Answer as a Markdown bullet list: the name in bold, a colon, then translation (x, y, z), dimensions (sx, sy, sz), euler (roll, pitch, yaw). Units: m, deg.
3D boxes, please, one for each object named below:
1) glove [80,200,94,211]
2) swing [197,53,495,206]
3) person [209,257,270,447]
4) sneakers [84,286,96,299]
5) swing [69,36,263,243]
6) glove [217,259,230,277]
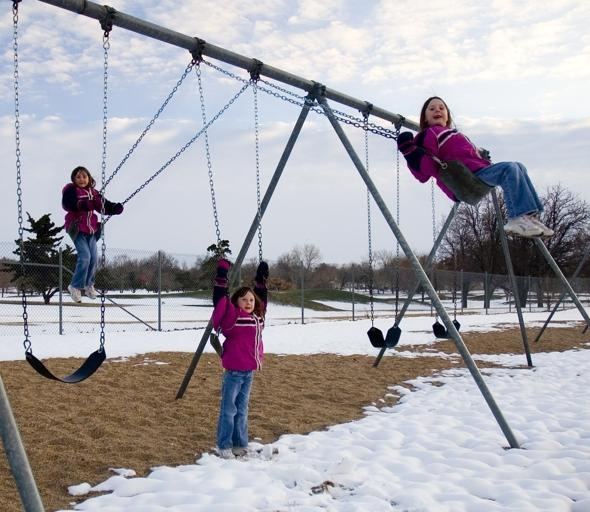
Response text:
- **glove**: translation (-2.235, -0.555, 7.893), dimensions (0.202, 0.100, 0.270), euler (1, -4, -21)
- **swing**: translation (0.336, -0.896, 6.358), dimensions (1.026, 1.314, 3.466), euler (17, 9, 24)
- **person**: translation (-0.525, 0.936, 7.059), dimensions (0.399, 1.814, 0.634), euler (3, 5, 37)
- **sneakers**: translation (-2.329, 0.417, 8.384), dimensions (0.104, 0.138, 0.303), euler (0, -10, -7)
- **swing**: translation (-1.222, -0.902, 6.113), dimensions (0.654, 1.304, 2.015), euler (35, 34, 9)
- **glove**: translation (-0.664, 0.105, 6.966), dimensions (0.146, 0.205, 0.141), euler (2, -8, 0)
